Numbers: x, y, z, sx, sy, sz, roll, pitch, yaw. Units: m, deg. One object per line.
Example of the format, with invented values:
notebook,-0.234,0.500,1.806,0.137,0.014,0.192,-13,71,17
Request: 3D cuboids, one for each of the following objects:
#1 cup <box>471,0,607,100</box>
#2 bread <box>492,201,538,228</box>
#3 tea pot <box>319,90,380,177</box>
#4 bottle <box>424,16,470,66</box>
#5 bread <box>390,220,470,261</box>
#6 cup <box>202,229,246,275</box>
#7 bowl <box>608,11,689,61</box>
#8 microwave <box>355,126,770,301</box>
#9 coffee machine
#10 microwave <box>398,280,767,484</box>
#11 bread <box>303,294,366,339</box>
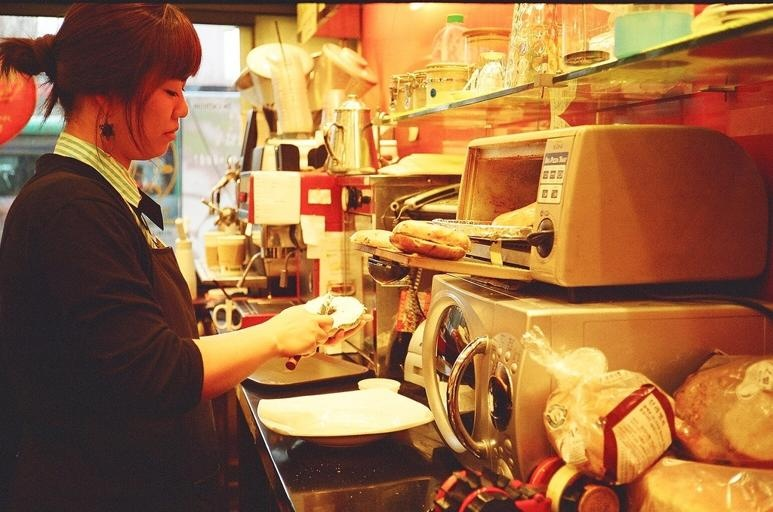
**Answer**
cup,0.458,-0.605,1.821,0.278,0.311,0.278,-1,1,0
bread,0.364,-0.107,1.752,0.099,0.032,0.087,-13,5,5
tea pot,-0.143,-0.513,2.745,0.234,0.336,0.370,4,9,31
bottle,0.293,-1.000,2.925,0.148,0.208,0.227,2,9,5
bread,0.118,-0.037,1.629,0.134,0.054,0.128,14,3,-19
cup,-1.157,-0.023,4.460,0.331,0.275,0.274,3,3,22
bowl,0.621,-0.517,1.456,0.168,0.107,0.076,5,10,22
microwave,0.544,-0.115,1.633,0.734,0.372,0.533,1,-1,-19
coffee machine,-0.485,-0.002,3.185,0.559,0.765,0.785,0,0,-18
microwave,0.455,0.236,1.607,0.550,0.387,0.614,0,-2,-10
bread,-0.153,0.181,1.966,0.128,0.033,0.127,-20,21,-37
